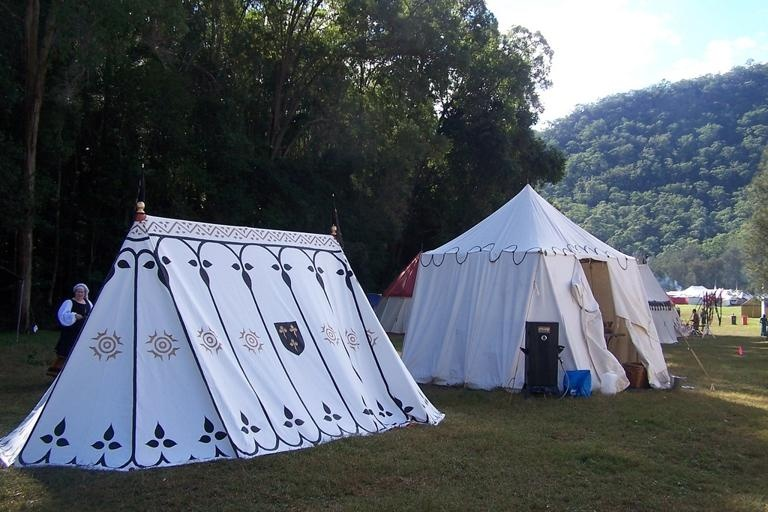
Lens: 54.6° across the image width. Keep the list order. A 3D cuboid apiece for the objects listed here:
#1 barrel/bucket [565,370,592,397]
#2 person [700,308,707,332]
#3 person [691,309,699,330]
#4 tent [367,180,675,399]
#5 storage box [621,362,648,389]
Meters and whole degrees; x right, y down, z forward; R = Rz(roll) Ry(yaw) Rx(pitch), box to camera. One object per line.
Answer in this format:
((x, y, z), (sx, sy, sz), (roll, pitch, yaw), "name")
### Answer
((4.037, 2.650, 15.555), (0.443, 0.479, 0.243), (2, 4, 17), "barrel/bucket")
((11.989, 2.384, 27.949), (0.225, 0.911, 1.431), (-3, -8, 22), "person")
((11.220, 2.283, 26.975), (0.195, 0.787, 0.983), (-3, -8, 22), "person")
((3.334, 1.051, 16.841), (4.680, 3.352, 4.498), (-5, -5, 41), "tent")
((5.467, 2.598, 16.441), (0.608, 0.622, 0.434), (2, -1, -28), "storage box")
